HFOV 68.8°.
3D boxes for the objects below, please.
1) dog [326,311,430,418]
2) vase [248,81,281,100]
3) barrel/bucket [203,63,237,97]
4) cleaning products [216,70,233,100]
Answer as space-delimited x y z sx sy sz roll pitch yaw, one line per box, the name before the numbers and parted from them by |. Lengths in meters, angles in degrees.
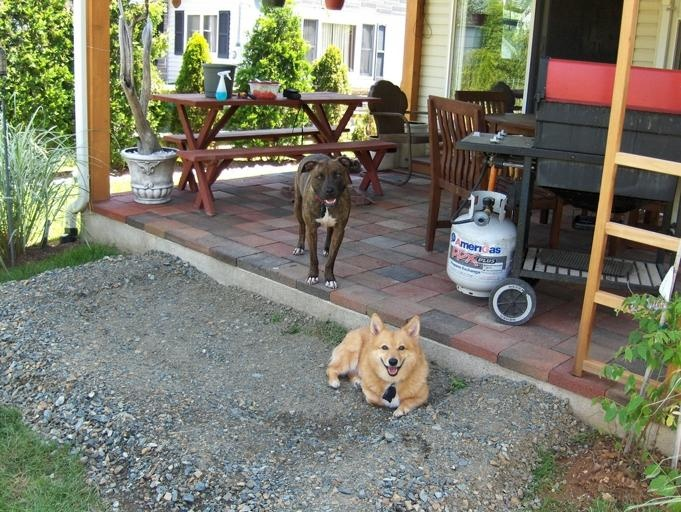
dog | 0.215 0.559 2.889 0.607 0.540 0.286 15 22 37
vase | -0.941 -2.067 6.186 0.362 0.209 0.310 -2 18 -13
barrel/bucket | -1.436 -2.064 5.941 0.357 0.310 0.383 3 12 -1
cleaning products | -1.361 -1.976 5.756 0.156 0.336 0.275 0 17 -4
